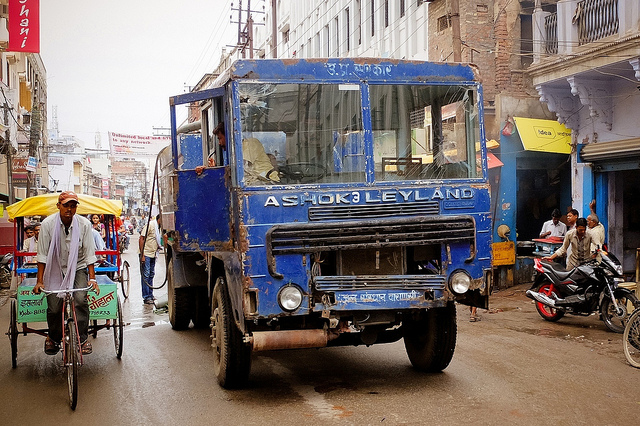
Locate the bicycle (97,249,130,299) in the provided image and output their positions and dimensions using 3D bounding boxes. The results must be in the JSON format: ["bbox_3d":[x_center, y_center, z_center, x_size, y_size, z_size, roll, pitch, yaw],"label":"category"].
[{"bbox_3d":[-4.297,1.161,12.298,0.578,0.981,1.067,0,-1,-7],"label":"bicycle"}]

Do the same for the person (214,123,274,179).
[{"bbox_3d":[-1.169,-0.865,8.431,1.149,0.800,0.360,2,4,42],"label":"person"}]

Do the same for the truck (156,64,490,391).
[{"bbox_3d":[-0.430,0.036,10.381,3.388,3.160,5.383,1,-4,-20],"label":"truck"}]

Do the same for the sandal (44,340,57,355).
[{"bbox_3d":[-4.182,2.061,9.331,0.145,0.163,0.393,2,1,-11],"label":"sandal"}]

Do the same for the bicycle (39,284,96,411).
[{"bbox_3d":[-3.536,1.872,8.574,0.570,1.513,1.085,-3,4,-32],"label":"bicycle"}]

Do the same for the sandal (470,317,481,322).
[{"bbox_3d":[3.408,2.306,13.135,0.245,0.113,0.076,-4,6,-28],"label":"sandal"}]

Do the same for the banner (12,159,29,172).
[{"bbox_3d":[-16.584,-2.568,33.078,0.741,0.657,1.258,-2,3,-28],"label":"banner"}]

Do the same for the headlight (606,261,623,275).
[{"bbox_3d":[6.010,1.113,12.147,0.335,0.273,0.134,0,3,1],"label":"headlight"}]

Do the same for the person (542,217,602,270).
[{"bbox_3d":[5.903,0.741,13.960,1.002,1.298,0.446,-2,5,8],"label":"person"}]
